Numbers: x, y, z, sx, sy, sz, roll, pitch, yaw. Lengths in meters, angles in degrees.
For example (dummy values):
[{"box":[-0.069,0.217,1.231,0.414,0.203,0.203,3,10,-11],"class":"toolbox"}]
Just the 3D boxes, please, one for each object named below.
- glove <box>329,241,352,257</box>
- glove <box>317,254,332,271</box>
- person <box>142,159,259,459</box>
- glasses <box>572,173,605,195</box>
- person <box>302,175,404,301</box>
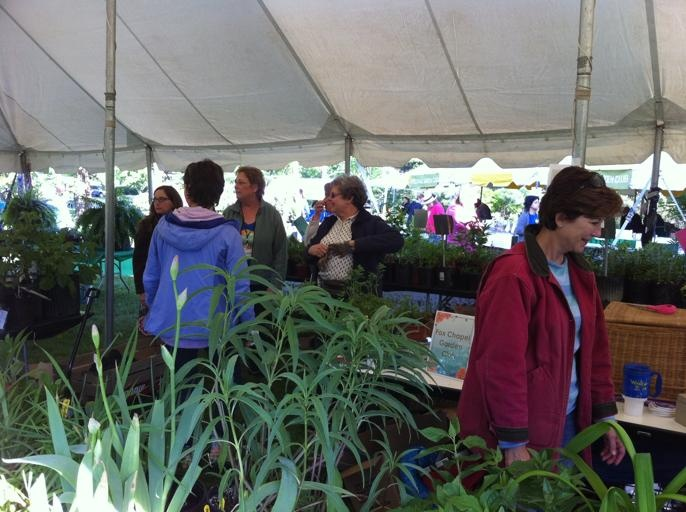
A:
[{"box":[-0.020,-0.050,4.095,0.105,0.067,0.137,1,0,-36],"class":"glove"},{"box":[-0.133,0.032,4.217,0.082,0.112,0.108,33,23,6],"class":"glove"},{"box":[-0.857,0.292,3.209,0.593,1.673,0.500,7,14,12],"class":"person"},{"box":[0.968,-0.284,2.200,0.089,0.094,0.072,30,34,1],"class":"glasses"},{"box":[0.012,-0.168,4.180,0.792,0.859,0.473,2,0,39],"class":"person"}]
